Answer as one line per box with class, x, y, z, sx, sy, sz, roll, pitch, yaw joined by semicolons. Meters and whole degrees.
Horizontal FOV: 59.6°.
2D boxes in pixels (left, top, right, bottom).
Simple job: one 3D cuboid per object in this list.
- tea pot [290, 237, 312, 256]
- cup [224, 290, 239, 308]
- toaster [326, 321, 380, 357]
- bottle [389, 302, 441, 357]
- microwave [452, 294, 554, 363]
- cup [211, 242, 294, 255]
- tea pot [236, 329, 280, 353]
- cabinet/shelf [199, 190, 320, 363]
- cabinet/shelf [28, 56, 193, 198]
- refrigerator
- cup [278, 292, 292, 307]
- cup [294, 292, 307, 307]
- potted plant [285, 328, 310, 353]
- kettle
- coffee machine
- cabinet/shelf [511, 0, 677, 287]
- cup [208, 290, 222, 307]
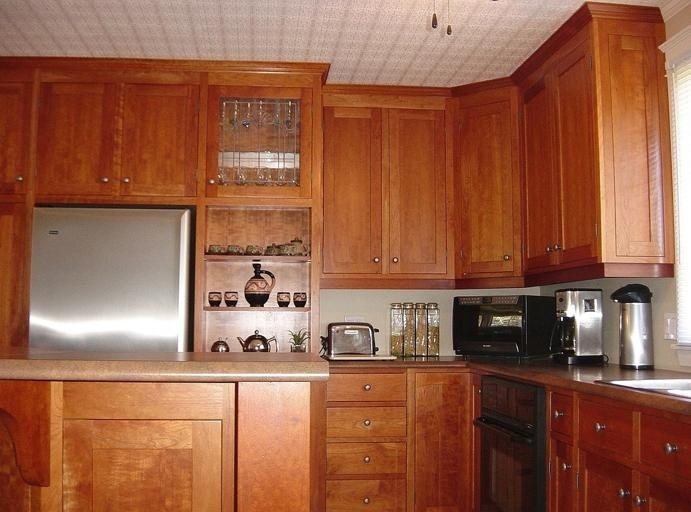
tea pot;-0.311;-0.062;4.168;0.137;0.115;0.131;1;-3;0
cup;-0.752;0.298;4.053;0.103;0.080;0.096;-1;-3;0
toaster;0.048;0.564;4.059;0.406;0.251;0.207;1;-10;-7
bottle;0.487;0.528;4.298;0.408;0.397;0.138;1;-9;-8
microwave;1.037;0.467;3.977;0.461;0.392;0.636;9;-10;-39
cup;-0.617;-0.043;4.112;0.641;0.090;0.220;-1;-3;-5
tea pot;-0.573;0.557;3.981;0.242;0.143;0.145;3;-6;2
cabinet/shelf;-0.698;0.364;4.146;0.828;1.448;0.200;6;-1;-33
cabinet/shelf;-1.463;-0.787;4.097;1.112;0.797;0.430;3;4;8
refrigerator;-1.458;0.189;3.686;0.950;1.185;0.647;2;-5;-3
cup;-0.410;0.287;4.014;0.097;0.082;0.092;2;-2;0
cup;-0.305;0.291;4.041;0.096;0.097;0.139;-1;-3;-5
potted plant;-0.320;0.568;4.102;0.237;0.207;0.204;0;-7;-4
kettle;1.528;0.378;3.231;0.192;0.449;0.119;-3;-4;20
coffee machine;1.352;0.403;3.509;0.308;0.432;0.179;-2;-4;8
cabinet/shelf;1.330;-0.580;3.432;0.417;1.457;0.821;1;-4;-27
cup;-0.866;0.278;4.019;0.102;0.076;0.095;-1;-6;0
